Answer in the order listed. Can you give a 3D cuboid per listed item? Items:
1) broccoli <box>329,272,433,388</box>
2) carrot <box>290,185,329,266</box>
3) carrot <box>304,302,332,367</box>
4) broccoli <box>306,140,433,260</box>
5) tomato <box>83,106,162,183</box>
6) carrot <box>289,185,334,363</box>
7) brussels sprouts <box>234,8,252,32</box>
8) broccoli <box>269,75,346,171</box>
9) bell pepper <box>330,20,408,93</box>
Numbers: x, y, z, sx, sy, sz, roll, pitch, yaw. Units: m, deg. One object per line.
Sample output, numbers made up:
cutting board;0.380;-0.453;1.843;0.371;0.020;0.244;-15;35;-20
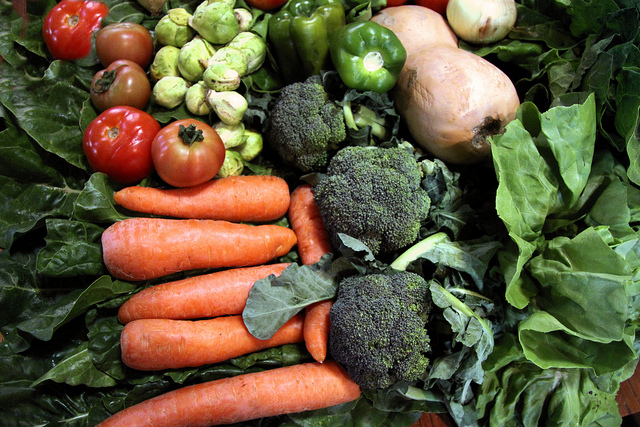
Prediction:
broccoli;0.247;0.442;2.241;0.373;0.207;0.466;-11;86;6
carrot;-0.056;0.041;2.552;0.111;0.119;0.389;-14;64;9
carrot;-0.007;0.470;2.328;0.079;0.075;0.281;0;61;10
broccoli;0.215;-0.067;2.379;0.465;0.210;0.419;15;71;-4
tomato;-0.824;-0.292;2.392;0.281;0.133;0.282;7;71;-7
carrot;-0.046;0.242;2.463;0.158;0.159;0.730;1;62;-27
brussels sprouts;-0.335;-0.844;2.539;0.086;0.050;0.097;22;92;4
broccoli;-0.049;-0.373;2.417;0.278;0.208;0.393;1;67;-2
bell pepper;0.201;-0.656;2.385;0.313;0.129;0.271;5;72;-7
